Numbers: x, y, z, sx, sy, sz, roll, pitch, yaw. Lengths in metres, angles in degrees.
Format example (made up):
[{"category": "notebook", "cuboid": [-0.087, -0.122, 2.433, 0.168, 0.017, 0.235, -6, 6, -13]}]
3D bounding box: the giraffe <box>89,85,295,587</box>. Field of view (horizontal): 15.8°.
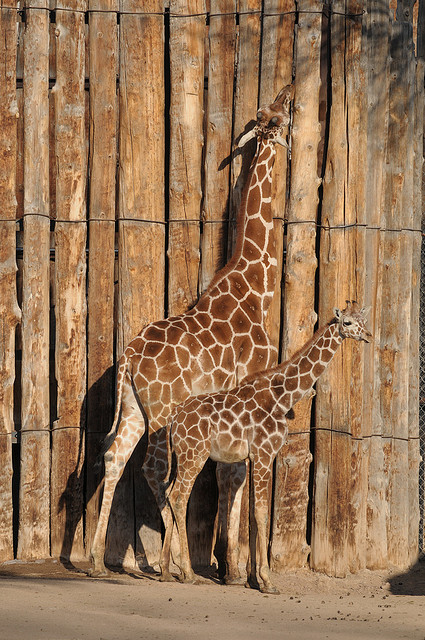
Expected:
[{"category": "giraffe", "cuboid": [0.024, -0.018, 8.602, 0.840, 2.836, 0.433, 2, 24, -3]}]
